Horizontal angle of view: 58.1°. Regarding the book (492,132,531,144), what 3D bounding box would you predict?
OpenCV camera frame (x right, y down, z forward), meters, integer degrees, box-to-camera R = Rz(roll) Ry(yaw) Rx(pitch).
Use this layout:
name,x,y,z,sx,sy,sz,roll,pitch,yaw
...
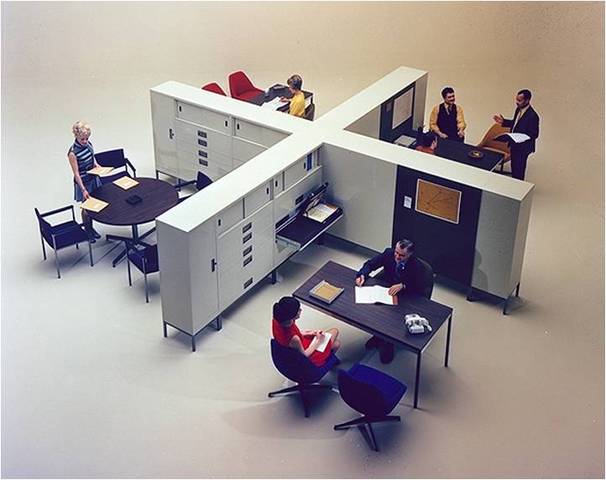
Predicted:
name,x,y,z,sx,sy,sz,roll,pitch,yaw
book,3.158,-1.550,8.187,0.305,0.117,0.223,-31,22,-33

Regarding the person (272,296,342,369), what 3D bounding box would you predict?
name,x,y,z,sx,sy,sz,roll,pitch,yaw
person,0.036,0.838,5.352,0.362,0.815,0.698,20,34,39

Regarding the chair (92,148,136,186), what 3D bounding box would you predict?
name,x,y,z,sx,sy,sz,roll,pitch,yaw
chair,-2.817,-1.080,8.108,0.468,0.661,0.448,-21,49,-23

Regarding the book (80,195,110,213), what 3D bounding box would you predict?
name,x,y,z,sx,sy,sz,roll,pitch,yaw
book,-2.779,-0.476,7.197,0.437,0.076,0.274,13,31,27

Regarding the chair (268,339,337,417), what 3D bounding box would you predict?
name,x,y,z,sx,sy,sz,roll,pitch,yaw
chair,0.000,1.400,5.516,0.465,0.593,0.494,19,38,30

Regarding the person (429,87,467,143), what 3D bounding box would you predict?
name,x,y,z,sx,sy,sz,roll,pitch,yaw
person,2.323,-1.948,8.774,0.564,1.063,0.568,-2,-4,32

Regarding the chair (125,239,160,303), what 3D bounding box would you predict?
name,x,y,z,sx,sy,sz,roll,pitch,yaw
chair,-2.049,0.415,6.957,0.368,0.501,0.498,-23,41,-33

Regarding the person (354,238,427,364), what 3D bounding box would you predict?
name,x,y,z,sx,sy,sz,roll,pitch,yaw
person,1.021,0.577,6.194,0.706,1.282,0.647,16,29,18

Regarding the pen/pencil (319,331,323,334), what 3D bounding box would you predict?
name,x,y,z,sx,sy,sz,roll,pitch,yaw
pen/pencil,0.181,0.936,5.592,0.021,0.006,0.022,11,28,21

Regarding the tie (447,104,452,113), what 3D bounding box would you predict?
name,x,y,z,sx,sy,sz,roll,pitch,yaw
tie,2.335,-2.115,8.699,0.081,0.126,0.028,6,2,14

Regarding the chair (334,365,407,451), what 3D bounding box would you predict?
name,x,y,z,sx,sy,sz,roll,pitch,yaw
chair,0.618,1.478,5.214,0.580,0.934,0.650,15,31,33

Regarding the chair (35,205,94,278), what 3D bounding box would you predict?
name,x,y,z,sx,sy,sz,roll,pitch,yaw
chair,-3.217,-0.055,7.392,0.689,0.850,0.649,22,32,28
